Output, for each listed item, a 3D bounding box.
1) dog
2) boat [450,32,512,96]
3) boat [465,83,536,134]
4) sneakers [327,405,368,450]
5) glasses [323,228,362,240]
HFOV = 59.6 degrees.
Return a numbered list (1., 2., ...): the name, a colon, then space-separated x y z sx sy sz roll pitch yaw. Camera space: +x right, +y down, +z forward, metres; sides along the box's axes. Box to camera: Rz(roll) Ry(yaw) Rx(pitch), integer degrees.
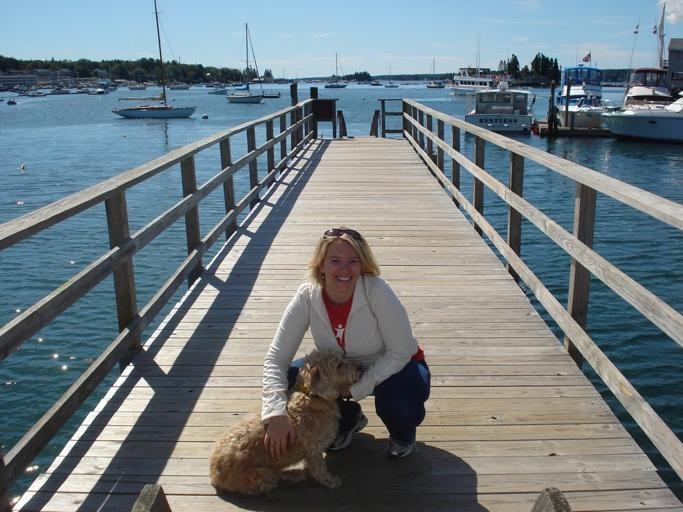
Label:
1. dog: -0.322 0.837 2.974 0.904 0.596 0.411 0 2 -41
2. boat: 20.815 -28.000 92.818 2.821 5.692 8.641 -21 26 -36
3. boat: 10.417 -10.289 38.101 4.129 2.168 6.638 5 39 15
4. sneakers: 0.043 0.901 3.204 0.129 0.314 0.148 7 30 -11
5. glasses: -0.001 -0.115 3.080 0.190 0.054 0.153 -5 19 -10
